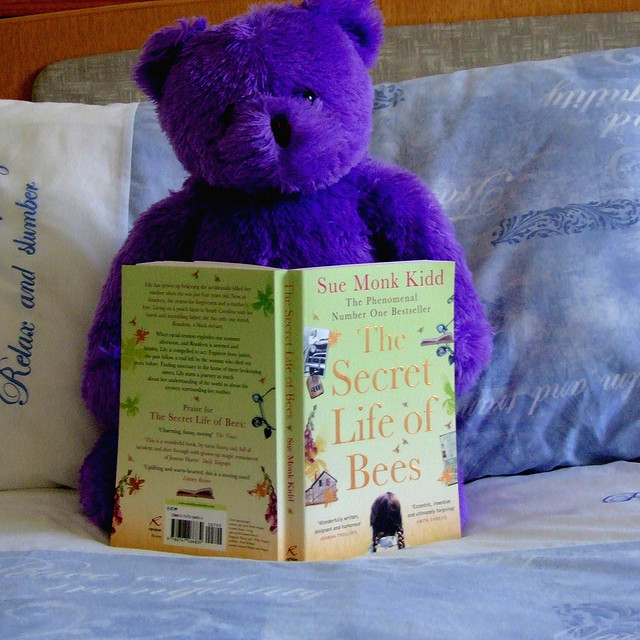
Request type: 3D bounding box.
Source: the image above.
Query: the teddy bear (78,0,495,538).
[{"bbox_3d":[-0.034,-0.034,0.927,0.428,0.518,0.305,-7,21,-1],"label":"teddy bear"}]

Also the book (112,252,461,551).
[{"bbox_3d":[-0.036,0.058,1.008,0.292,0.071,0.306,2,94,-4],"label":"book"}]
